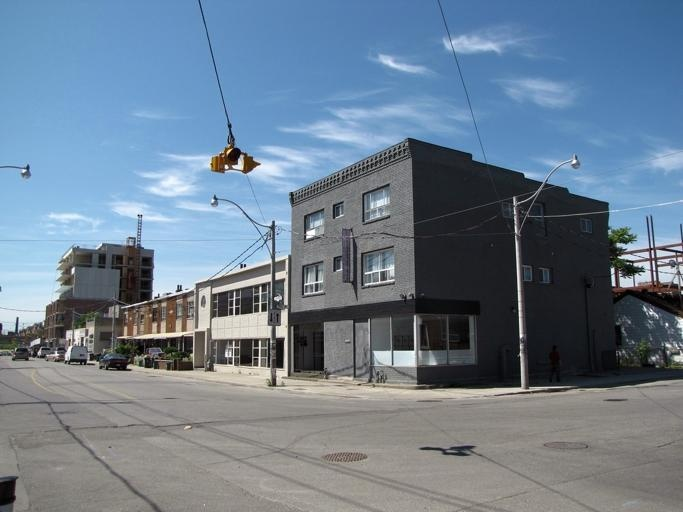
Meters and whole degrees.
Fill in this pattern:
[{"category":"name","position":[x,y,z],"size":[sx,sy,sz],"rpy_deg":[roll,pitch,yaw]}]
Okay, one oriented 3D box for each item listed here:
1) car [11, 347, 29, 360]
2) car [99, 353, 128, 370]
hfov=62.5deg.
[{"category":"car","position":[-42.963,13.311,75.425],"size":[1.526,1.421,3.119],"rpy_deg":[2,-4,-30]},{"category":"car","position":[-20.842,9.589,51.198],"size":[1.364,1.146,3.255],"rpy_deg":[5,-8,-32]}]
